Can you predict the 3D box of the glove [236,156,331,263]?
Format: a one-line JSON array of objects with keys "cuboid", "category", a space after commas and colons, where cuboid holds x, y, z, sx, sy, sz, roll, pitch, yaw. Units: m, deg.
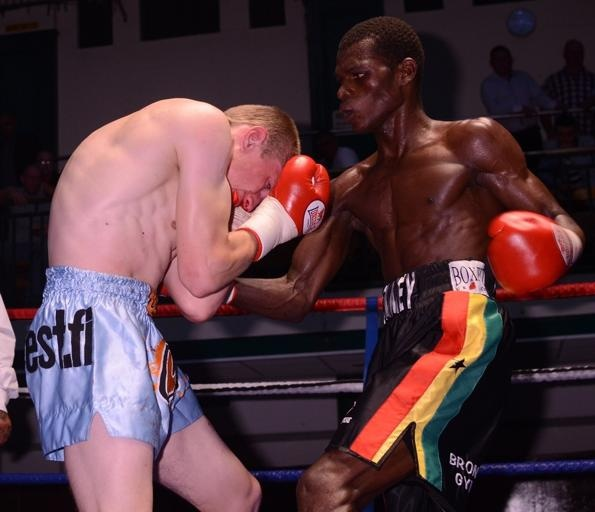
[{"cuboid": [-0.032, -0.142, 2.598, 0.247, 0.393, 0.164, 36, -21, 0], "category": "glove"}]
